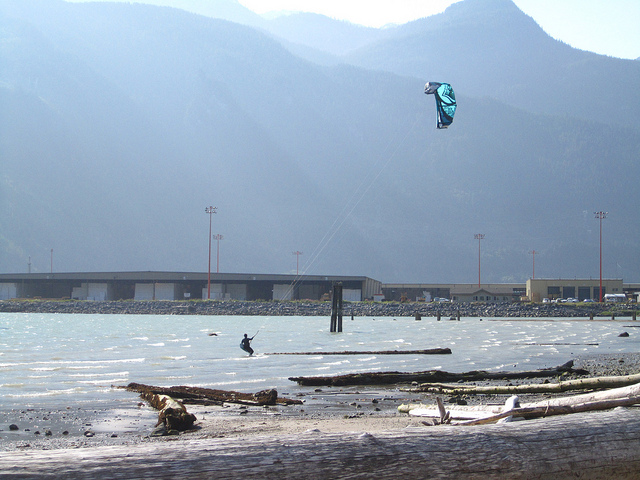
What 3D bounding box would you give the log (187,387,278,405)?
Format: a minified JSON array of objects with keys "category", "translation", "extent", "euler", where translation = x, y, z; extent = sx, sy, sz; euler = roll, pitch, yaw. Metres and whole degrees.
[{"category":"log","translation":[-20.020,35.246,245.808],"extent":[10.572,2.211,1.942],"euler":[6,19,4]}]
